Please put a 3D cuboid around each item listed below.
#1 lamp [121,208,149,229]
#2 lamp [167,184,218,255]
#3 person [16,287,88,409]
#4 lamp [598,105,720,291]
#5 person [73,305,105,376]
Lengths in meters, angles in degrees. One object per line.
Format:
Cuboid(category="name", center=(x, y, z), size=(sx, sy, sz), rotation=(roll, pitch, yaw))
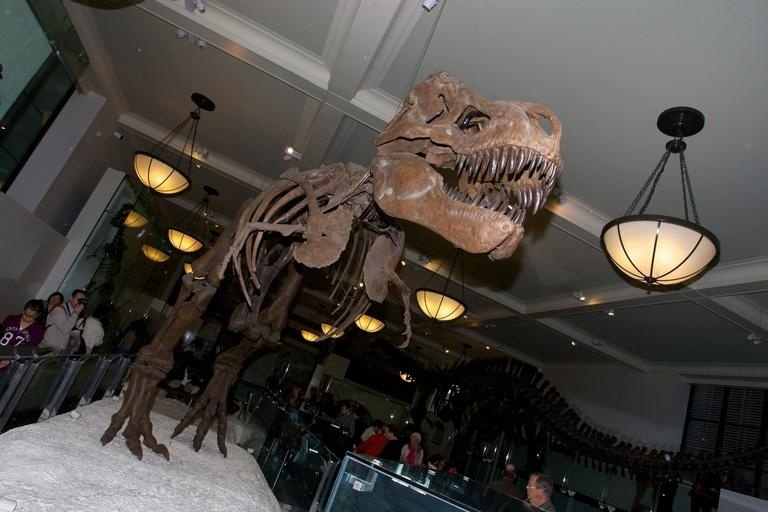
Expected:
Cuboid(category="lamp", center=(-5.097, -0.716, 9.067), size=(0.075, 0.303, 0.804), rotation=(21, -20, -3))
Cuboid(category="lamp", center=(-4.706, -0.939, 10.804), size=(0.821, 1.574, 0.820), rotation=(23, -25, -3))
Cuboid(category="person", center=(-3.843, 1.044, 5.136), size=(1.275, 0.690, 0.384), rotation=(-37, -38, 24))
Cuboid(category="lamp", center=(3.243, -0.760, 5.204), size=(1.143, 2.020, 1.071), rotation=(18, -23, 27))
Cuboid(category="person", center=(-4.702, 1.237, 7.172), size=(0.291, 0.781, 0.246), rotation=(16, 25, -10))
